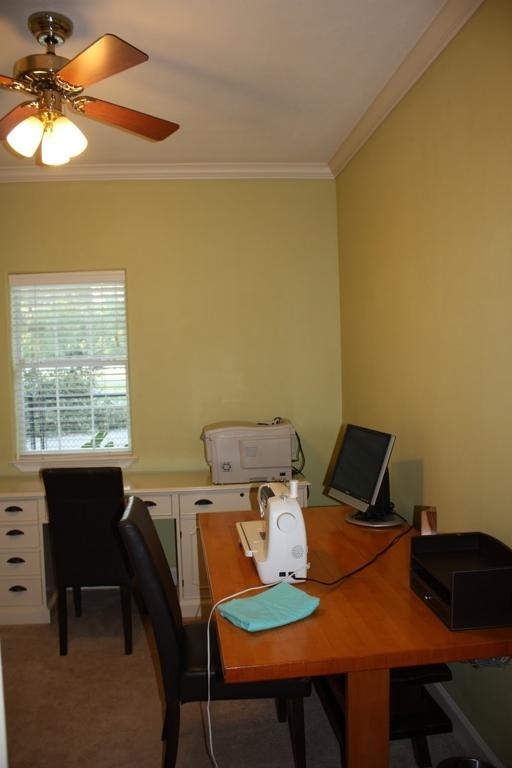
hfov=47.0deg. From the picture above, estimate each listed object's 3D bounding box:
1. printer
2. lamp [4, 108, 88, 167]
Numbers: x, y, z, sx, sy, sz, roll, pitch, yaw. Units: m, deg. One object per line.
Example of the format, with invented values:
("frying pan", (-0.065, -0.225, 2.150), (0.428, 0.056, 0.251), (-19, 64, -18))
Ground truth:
("printer", (-0.037, 0.377, 3.242), (0.415, 0.288, 0.307), (0, 1, -8))
("lamp", (-0.675, -0.817, 2.023), (0.215, 0.063, 0.222), (-2, -15, 16))
